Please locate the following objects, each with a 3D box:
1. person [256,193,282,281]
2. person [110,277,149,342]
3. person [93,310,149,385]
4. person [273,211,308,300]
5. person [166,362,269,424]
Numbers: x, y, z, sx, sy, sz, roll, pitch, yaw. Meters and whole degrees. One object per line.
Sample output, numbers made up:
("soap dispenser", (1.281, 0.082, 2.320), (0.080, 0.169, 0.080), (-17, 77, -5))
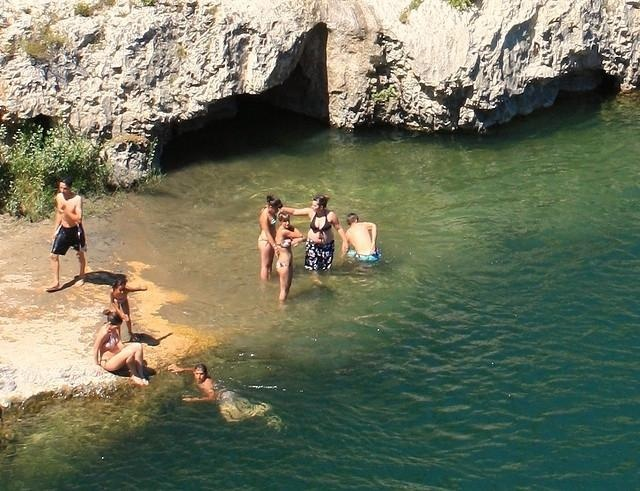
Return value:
("person", (-1.431, -0.105, 20.967), (0.871, 2.690, 0.818), (7, 52, 7))
("person", (-4.709, 1.632, 18.491), (0.905, 1.689, 0.810), (-7, 20, -14))
("person", (-4.774, 2.461, 17.705), (1.224, 1.841, 0.425), (-6, 11, 10))
("person", (-0.845, 0.409, 20.606), (1.024, 3.127, 0.842), (-5, 33, -3))
("person", (-2.240, 3.490, 17.071), (1.845, 0.667, 1.129), (14, 46, -6))
